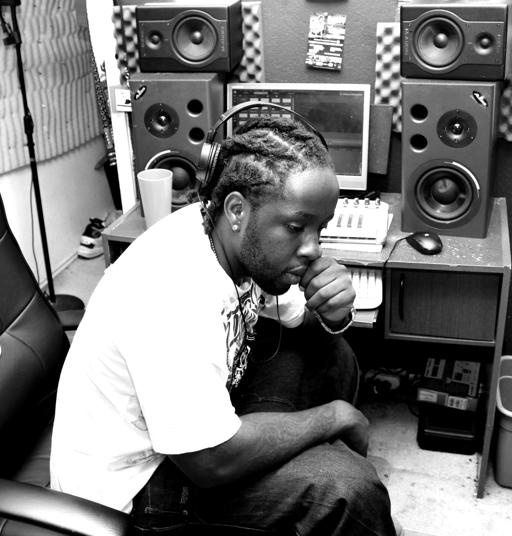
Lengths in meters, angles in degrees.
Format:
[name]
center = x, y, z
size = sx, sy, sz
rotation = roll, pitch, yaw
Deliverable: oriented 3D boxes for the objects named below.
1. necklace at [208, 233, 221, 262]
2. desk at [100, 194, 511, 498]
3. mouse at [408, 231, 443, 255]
[necklace]
center = -0.080, -0.043, 0.963
size = 0.008, 0.042, 0.037
rotation = -14, 11, 7
[desk]
center = 0.364, 0.594, 2.421
size = 1.783, 1.376, 0.983
rotation = 8, 32, 14
[mouse]
center = 0.538, -0.085, 1.578
size = 0.057, 0.033, 0.095
rotation = -18, 34, -27
